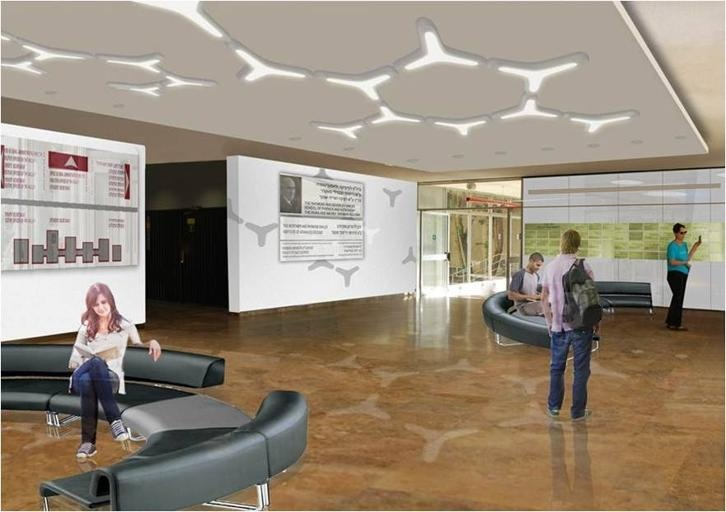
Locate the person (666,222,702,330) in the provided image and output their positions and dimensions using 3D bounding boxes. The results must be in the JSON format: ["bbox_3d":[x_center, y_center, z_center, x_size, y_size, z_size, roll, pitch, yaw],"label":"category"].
[{"bbox_3d":[5.961,0.381,8.887,0.466,1.961,1.061,3,5,33],"label":"person"}]

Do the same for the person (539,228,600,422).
[{"bbox_3d":[1.965,0.758,4.515,0.511,1.542,0.283,2,5,30],"label":"person"}]

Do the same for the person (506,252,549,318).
[{"bbox_3d":[2.782,0.547,7.575,0.704,1.158,0.711,6,6,40],"label":"person"}]
